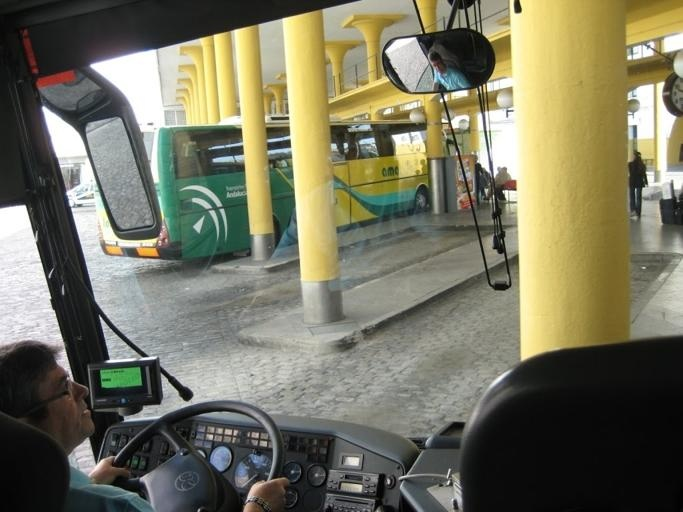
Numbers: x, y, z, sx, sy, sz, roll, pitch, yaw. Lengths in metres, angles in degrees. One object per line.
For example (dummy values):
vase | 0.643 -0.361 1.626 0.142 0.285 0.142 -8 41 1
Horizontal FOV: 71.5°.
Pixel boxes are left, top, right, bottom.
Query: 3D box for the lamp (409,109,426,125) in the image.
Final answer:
lamp | 2.667 -4.831 16.524 0.548 0.371 0.485 -16 21 -33

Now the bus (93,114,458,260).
bus | -1.006 -2.232 13.583 2.144 3.849 12.263 1 8 35
